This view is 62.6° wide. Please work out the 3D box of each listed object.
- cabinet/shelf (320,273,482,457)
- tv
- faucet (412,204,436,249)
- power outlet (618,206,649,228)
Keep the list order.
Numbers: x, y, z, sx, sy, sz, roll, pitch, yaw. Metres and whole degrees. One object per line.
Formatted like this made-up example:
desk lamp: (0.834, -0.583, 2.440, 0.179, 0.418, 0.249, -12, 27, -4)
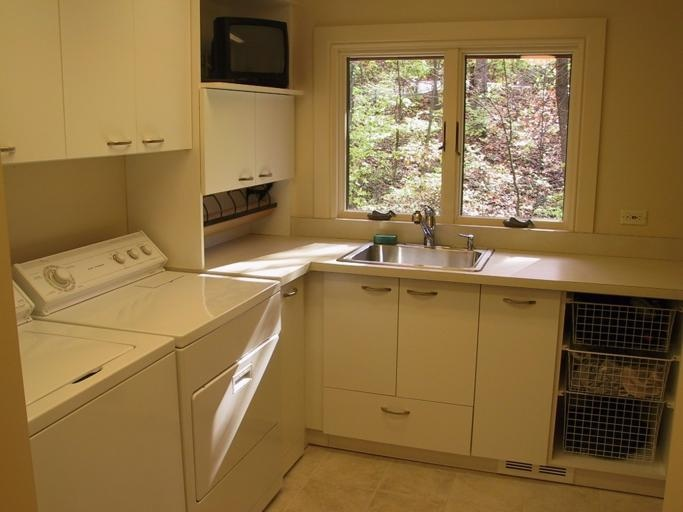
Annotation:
cabinet/shelf: (0.332, 0.523, 2.888, 0.888, 0.982, 0.543, 2, 9, 14)
tv: (-0.471, -1.084, 2.971, 0.129, 0.336, 0.451, 15, 19, 36)
faucet: (0.492, -0.192, 3.337, 0.148, 0.230, 0.196, 6, 16, 7)
power outlet: (1.593, -0.216, 3.044, 0.113, 0.080, 0.024, 4, 11, 24)
